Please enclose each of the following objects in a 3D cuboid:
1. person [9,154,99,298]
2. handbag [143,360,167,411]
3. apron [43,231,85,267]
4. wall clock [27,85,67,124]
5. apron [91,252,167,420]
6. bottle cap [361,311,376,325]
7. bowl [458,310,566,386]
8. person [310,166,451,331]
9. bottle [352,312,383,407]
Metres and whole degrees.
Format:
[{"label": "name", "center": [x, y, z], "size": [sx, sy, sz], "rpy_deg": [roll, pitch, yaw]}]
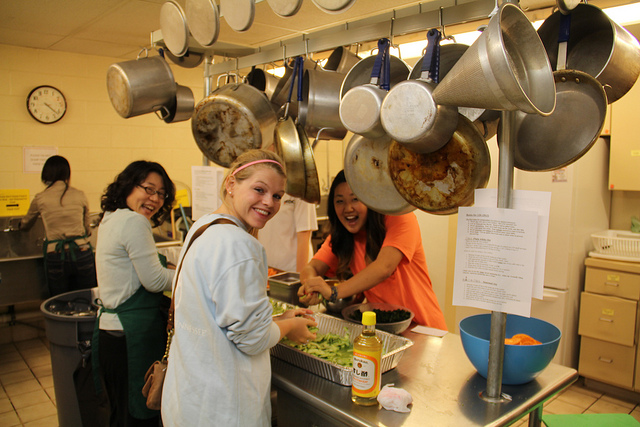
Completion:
[{"label": "person", "center": [-2.681, 0.139, 4.558], "size": [0.619, 1.418, 0.308], "rpy_deg": [-2, 3, -36]}, {"label": "handbag", "center": [-0.848, 0.872, 2.258], "size": [0.117, 0.263, 0.283], "rpy_deg": [-1, 2, -22]}, {"label": "apron", "center": [-2.676, 0.373, 4.659], "size": [0.487, 0.358, 0.461], "rpy_deg": [9, -16, -41]}, {"label": "wall clock", "center": [-3.057, -1.196, 4.872], "size": [0.045, 0.336, 0.307], "rpy_deg": [5, 48, 52]}, {"label": "apron", "center": [-1.200, 0.834, 2.731], "size": [0.470, 0.817, 0.201], "rpy_deg": [0, 2, 21]}, {"label": "bottle cap", "center": [0.211, 0.447, 1.882], "size": [0.054, 0.040, 0.055], "rpy_deg": [2, -3, -34]}, {"label": "bowl", "center": [0.859, 0.595, 1.960], "size": [0.405, 0.208, 0.416], "rpy_deg": [-1, -2, 0]}, {"label": "person", "center": [0.356, 0.346, 2.871], "size": [0.676, 1.186, 0.693], "rpy_deg": [-20, 11, -7]}, {"label": "bottle", "center": [0.202, 0.627, 1.906], "size": [0.124, 0.412, 0.067], "rpy_deg": [0, 2, 4]}]
